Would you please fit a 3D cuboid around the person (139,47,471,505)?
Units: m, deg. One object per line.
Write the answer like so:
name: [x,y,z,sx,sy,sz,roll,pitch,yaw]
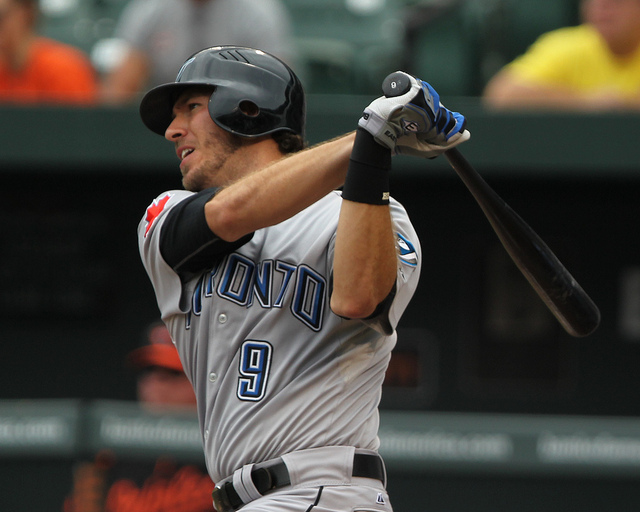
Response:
person: [-0.126,0.058,3.849,0.916,1.444,1.166,-16,29,-26]
